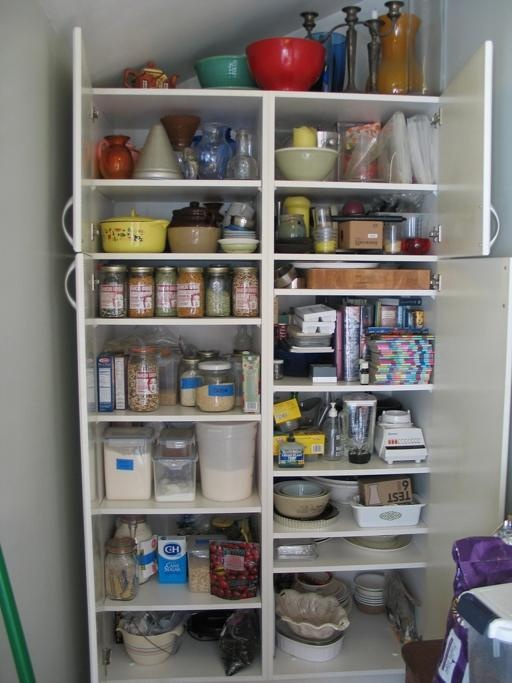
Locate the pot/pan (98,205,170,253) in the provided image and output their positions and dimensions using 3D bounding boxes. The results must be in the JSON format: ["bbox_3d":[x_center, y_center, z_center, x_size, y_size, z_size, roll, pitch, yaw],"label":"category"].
[{"bbox_3d":[-0.369,-0.337,1.953,0.233,0.117,0.182,3,10,25],"label":"pot/pan"}]

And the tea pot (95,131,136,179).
[{"bbox_3d":[-0.410,-0.547,1.937,0.142,0.126,0.104,8,24,4],"label":"tea pot"}]

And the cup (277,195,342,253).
[{"bbox_3d":[0.153,-0.364,1.995,0.257,0.227,0.142,-1,5,-11],"label":"cup"}]

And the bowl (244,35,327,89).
[{"bbox_3d":[0.093,-0.770,1.850,0.177,0.105,0.176,2,16,0],"label":"bowl"}]

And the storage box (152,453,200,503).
[{"bbox_3d":[-0.249,0.423,2.045,0.140,0.125,0.135,0,4,-4],"label":"storage box"}]

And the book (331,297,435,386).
[{"bbox_3d":[0.397,-0.005,2.020,0.239,0.099,0.311,0,14,6],"label":"book"}]

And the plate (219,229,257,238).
[{"bbox_3d":[-0.049,-0.325,1.952,0.089,0.025,0.046,-5,7,-6],"label":"plate"}]

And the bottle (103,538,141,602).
[{"bbox_3d":[-0.409,0.700,1.988,0.108,0.163,0.104,-1,-3,0],"label":"bottle"}]

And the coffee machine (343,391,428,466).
[{"bbox_3d":[0.413,0.284,2.113,0.173,0.177,0.259,-3,3,-30],"label":"coffee machine"}]

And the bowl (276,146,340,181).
[{"bbox_3d":[0.161,-0.534,1.959,0.218,0.096,0.151,-5,7,-13],"label":"bowl"}]

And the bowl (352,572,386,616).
[{"bbox_3d":[0.409,0.903,2.322,0.117,0.067,0.110,1,-6,0],"label":"bowl"}]

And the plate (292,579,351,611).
[{"bbox_3d":[0.233,0.837,2.188,0.110,0.040,0.108,3,3,33],"label":"plate"}]

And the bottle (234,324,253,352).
[{"bbox_3d":[-0.029,-0.013,2.198,0.081,0.133,0.092,2,2,0],"label":"bottle"}]

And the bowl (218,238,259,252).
[{"bbox_3d":[-0.050,-0.288,1.935,0.113,0.050,0.078,-4,7,0],"label":"bowl"}]

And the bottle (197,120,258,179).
[{"bbox_3d":[-0.097,-0.595,2.022,0.236,0.209,0.146,1,6,0],"label":"bottle"}]

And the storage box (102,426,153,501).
[{"bbox_3d":[-0.371,0.385,2.069,0.205,0.235,0.195,0,6,-1],"label":"storage box"}]

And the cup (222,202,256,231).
[{"bbox_3d":[-0.053,-0.392,2.019,0.115,0.103,0.084,-4,11,-37],"label":"cup"}]
